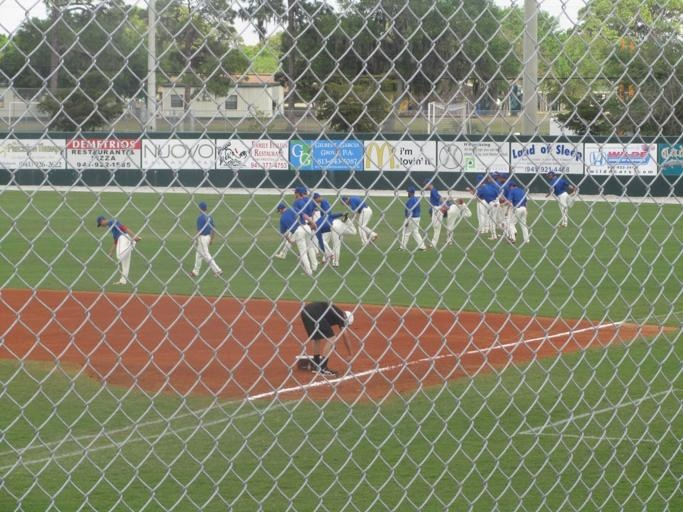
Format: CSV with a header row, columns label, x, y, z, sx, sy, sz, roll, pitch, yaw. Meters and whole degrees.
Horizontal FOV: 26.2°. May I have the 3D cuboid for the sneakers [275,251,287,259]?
label,x,y,z,sx,sy,sz,roll,pitch,yaw
sneakers,-1.090,-0.038,26.054,0.190,0.145,0.073,15,-11,6

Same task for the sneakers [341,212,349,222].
label,x,y,z,sx,sy,sz,roll,pitch,yaw
sneakers,0.051,-0.476,17.337,0.088,0.106,0.291,-4,-6,-4
